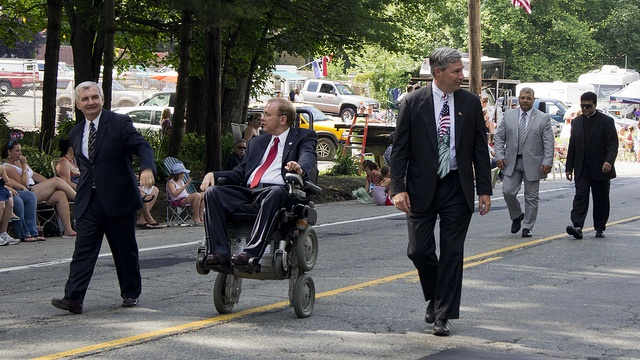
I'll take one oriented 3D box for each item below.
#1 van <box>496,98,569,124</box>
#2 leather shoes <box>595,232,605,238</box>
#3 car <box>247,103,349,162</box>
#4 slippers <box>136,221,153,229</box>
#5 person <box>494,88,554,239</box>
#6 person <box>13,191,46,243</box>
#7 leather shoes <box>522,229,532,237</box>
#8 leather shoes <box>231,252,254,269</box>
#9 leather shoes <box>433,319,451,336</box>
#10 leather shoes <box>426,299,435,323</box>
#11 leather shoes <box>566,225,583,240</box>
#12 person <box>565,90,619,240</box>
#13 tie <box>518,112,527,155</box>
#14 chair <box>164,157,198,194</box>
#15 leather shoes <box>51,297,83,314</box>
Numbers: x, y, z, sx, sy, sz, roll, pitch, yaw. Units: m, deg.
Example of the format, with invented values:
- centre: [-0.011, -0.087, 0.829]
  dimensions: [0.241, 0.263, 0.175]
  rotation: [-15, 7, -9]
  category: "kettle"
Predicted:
- centre: [13.686, -4.231, 43.273]
  dimensions: [4.688, 1.810, 2.190]
  rotation: [1, 23, 5]
  category: "van"
- centre: [6.166, 1.173, 15.421]
  dimensions: [0.192, 0.130, 0.251]
  rotation: [4, 13, 20]
  category: "leather shoes"
- centre: [-1.094, -1.999, 29.635]
  dimensions: [4.305, 1.775, 2.298]
  rotation: [0, 8, 3]
  category: "car"
- centre: [-4.342, 1.099, 17.165]
  dimensions: [0.385, 0.223, 0.956]
  rotation: [0, -6, -10]
  category: "slippers"
- centre: [4.455, -0.358, 15.357]
  dimensions: [1.256, 3.265, 0.861]
  rotation: [3, 15, 14]
  category: "person"
- centre: [-6.592, 0.810, 15.649]
  dimensions: [0.580, 1.077, 0.636]
  rotation: [0, 0, -37]
  category: "person"
- centre: [4.532, 1.150, 15.350]
  dimensions: [0.169, 0.154, 0.400]
  rotation: [-1, -6, 14]
  category: "leather shoes"
- centre: [-1.173, 1.197, 10.454]
  dimensions: [0.156, 0.166, 0.410]
  rotation: [-14, -28, 23]
  category: "leather shoes"
- centre: [1.807, 2.164, 10.372]
  dimensions: [0.265, 0.250, 0.165]
  rotation: [-3, 14, -9]
  category: "leather shoes"
- centre: [1.673, 1.983, 10.646]
  dimensions: [0.128, 0.139, 0.348]
  rotation: [4, 46, 10]
  category: "leather shoes"
- centre: [5.527, 1.100, 15.217]
  dimensions: [0.181, 0.435, 0.209]
  rotation: [-38, 15, 50]
  category: "leather shoes"
- centre: [5.959, -0.317, 15.409]
  dimensions: [1.040, 3.138, 1.263]
  rotation: [4, 15, 19]
  category: "person"
- centre: [4.414, -1.024, 15.277]
  dimensions: [0.172, 0.889, 0.290]
  rotation: [3, 15, 15]
  category: "tie"
- centre: [-3.717, -0.180, 18.180]
  dimensions: [0.680, 1.034, 0.757]
  rotation: [0, 0, 45]
  category: "chair"
- centre: [-3.965, 1.953, 11.013]
  dimensions: [0.533, 0.225, 0.196]
  rotation: [21, -8, -17]
  category: "leather shoes"
